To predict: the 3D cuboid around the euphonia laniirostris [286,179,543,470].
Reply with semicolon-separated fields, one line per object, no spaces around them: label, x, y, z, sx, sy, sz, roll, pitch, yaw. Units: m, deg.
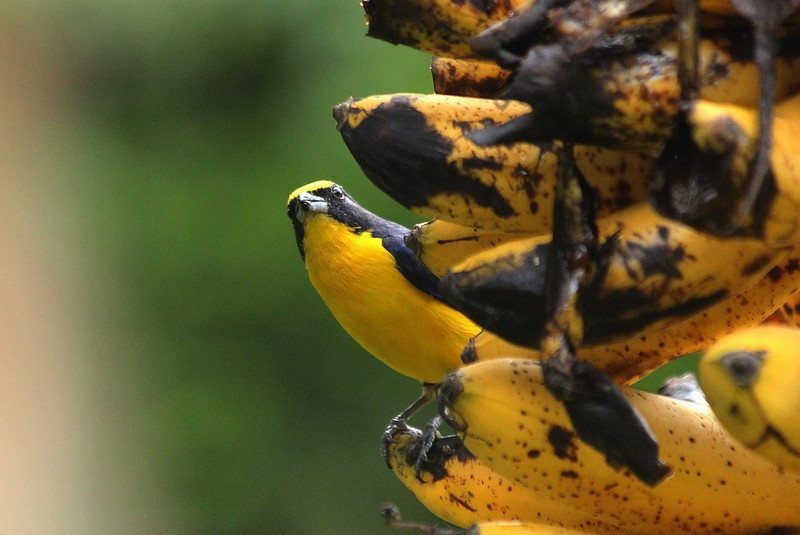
euphonia laniirostris;0.055;0.087;2.100;0.565;0.411;0.224;9;-22;-36
